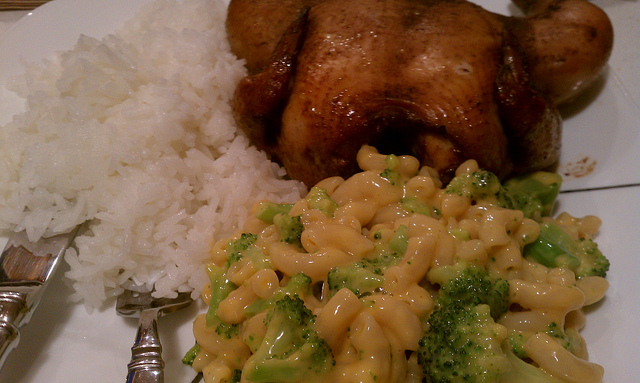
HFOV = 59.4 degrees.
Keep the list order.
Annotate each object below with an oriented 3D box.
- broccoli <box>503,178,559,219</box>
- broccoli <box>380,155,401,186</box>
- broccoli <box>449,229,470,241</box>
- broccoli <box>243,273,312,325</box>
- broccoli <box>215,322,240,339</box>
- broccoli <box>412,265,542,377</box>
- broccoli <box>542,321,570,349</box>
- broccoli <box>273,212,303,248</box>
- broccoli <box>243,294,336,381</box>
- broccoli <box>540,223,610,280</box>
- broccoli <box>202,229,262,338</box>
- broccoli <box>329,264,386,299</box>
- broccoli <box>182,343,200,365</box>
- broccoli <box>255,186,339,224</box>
[{"bbox_3d":[0.852,0.025,2.293,0.221,0.231,0.085,-24,78,-3],"label":"broccoli"},{"bbox_3d":[0.271,-0.084,2.105,0.074,0.024,0.104,-6,72,3],"label":"broccoli"},{"bbox_3d":[0.496,0.148,1.970,0.052,0.024,0.034,12,32,42],"label":"broccoli"},{"bbox_3d":[-0.133,0.347,1.910,0.229,0.077,0.124,-28,39,-15],"label":"broccoli"},{"bbox_3d":[-0.316,0.477,1.936,0.080,0.041,0.037,-5,33,5],"label":"broccoli"},{"bbox_3d":[0.483,0.412,1.861,0.289,0.218,0.321,3,35,16],"label":"broccoli"},{"bbox_3d":[0.802,0.492,1.931,0.034,0.072,0.093,-45,8,-10],"label":"broccoli"},{"bbox_3d":[-0.112,0.138,2.010,0.111,0.100,0.087,0,34,12],"label":"broccoli"},{"bbox_3d":[-0.106,0.476,1.810,0.283,0.172,0.199,-9,33,-2],"label":"broccoli"},{"bbox_3d":[0.936,0.265,2.227,0.369,0.101,0.226,-8,10,37],"label":"broccoli"},{"bbox_3d":[-0.290,0.333,1.998,0.201,0.065,0.340,-14,56,41],"label":"broccoli"},{"bbox_3d":[0.124,0.298,1.908,0.176,0.069,0.081,4,35,17],"label":"broccoli"},{"bbox_3d":[-0.455,0.581,2.008,0.046,0.080,0.026,30,2,-1],"label":"broccoli"},{"bbox_3d":[-0.086,0.019,2.157,0.330,0.091,0.323,9,12,34],"label":"broccoli"}]
